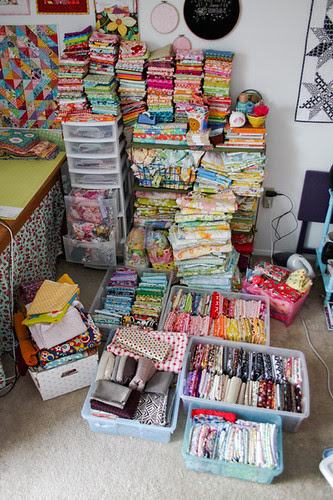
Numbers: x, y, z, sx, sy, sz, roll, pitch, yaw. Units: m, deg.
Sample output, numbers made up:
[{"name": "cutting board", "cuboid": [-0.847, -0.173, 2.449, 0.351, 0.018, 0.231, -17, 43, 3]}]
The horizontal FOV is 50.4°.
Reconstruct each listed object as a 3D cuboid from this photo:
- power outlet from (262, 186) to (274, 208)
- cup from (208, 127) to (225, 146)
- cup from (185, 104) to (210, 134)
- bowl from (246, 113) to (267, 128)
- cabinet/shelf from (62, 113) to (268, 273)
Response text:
[{"name": "power outlet", "cuboid": [0.807, -0.411, 2.843, 0.115, 0.181, 0.046, 3, 37, 5]}, {"name": "cup", "cuboid": [0.326, -0.735, 2.317, 0.093, 0.085, 0.152, 2, 35, 6]}, {"name": "cup", "cuboid": [0.206, -0.825, 2.233, 0.162, 0.169, 0.148, -2, 31, 1]}, {"name": "bowl", "cuboid": [0.571, -0.816, 2.248, 0.112, 0.076, 0.112, -2, 40, 1]}, {"name": "cabinet/shelf", "cuboid": [0.047, -0.444, 3.324, 2.085, 0.729, 1.791, 2, -3, 3]}]
